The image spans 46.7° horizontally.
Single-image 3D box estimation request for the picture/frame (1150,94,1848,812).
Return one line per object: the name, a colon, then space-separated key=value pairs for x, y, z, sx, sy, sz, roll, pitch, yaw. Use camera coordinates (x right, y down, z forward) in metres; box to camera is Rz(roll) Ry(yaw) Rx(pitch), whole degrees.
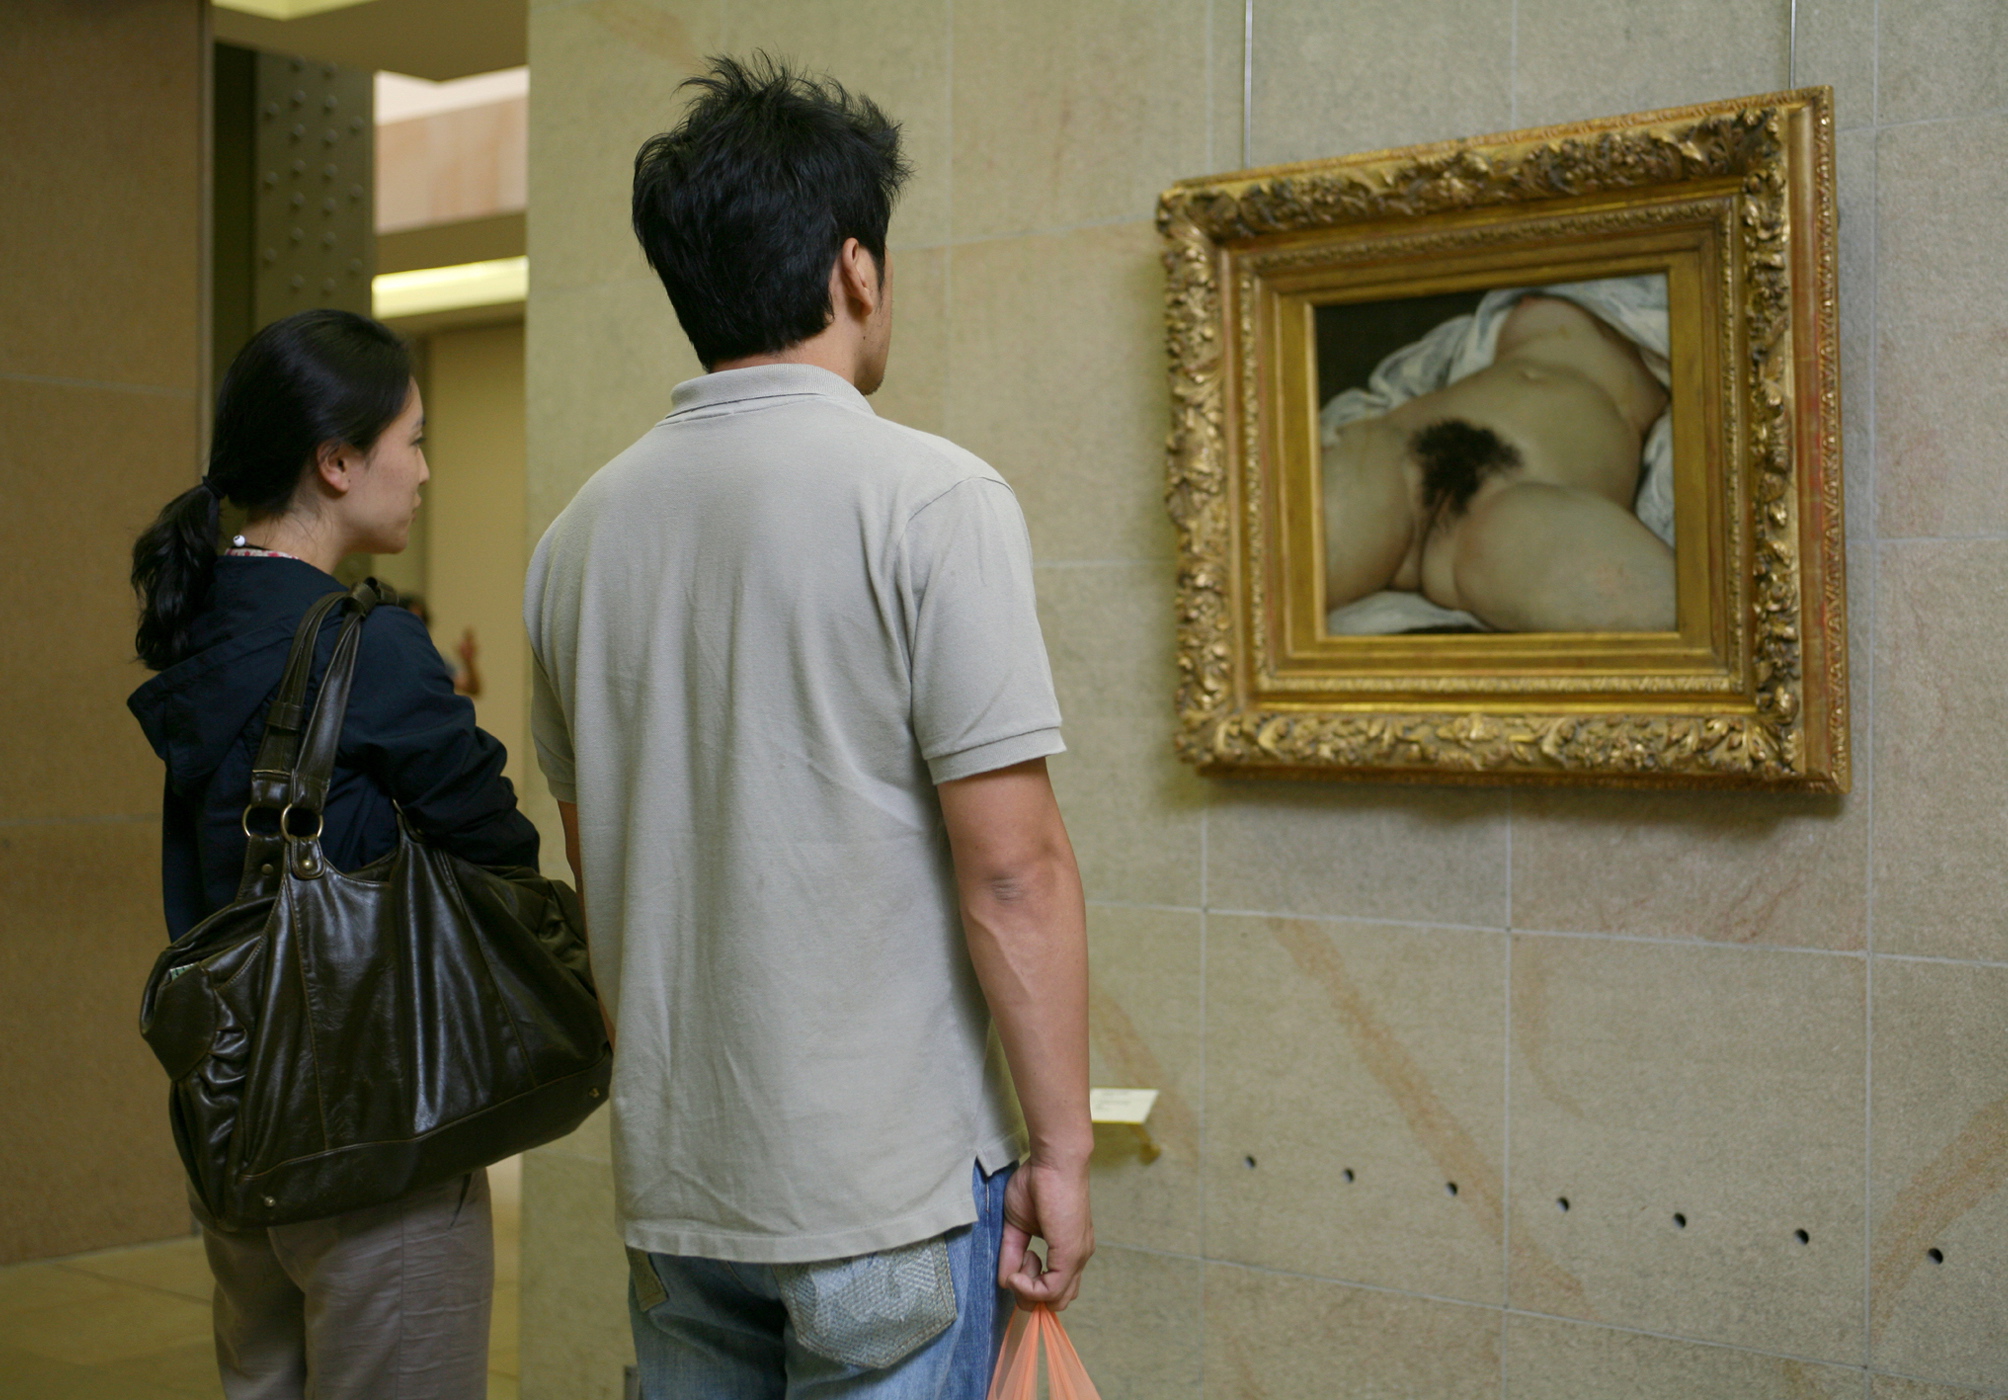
picture/frame: x=0.973 y=-0.466 z=4.294 sx=1.225 sy=1.231 sz=0.139 roll=0 pitch=4 yaw=20
